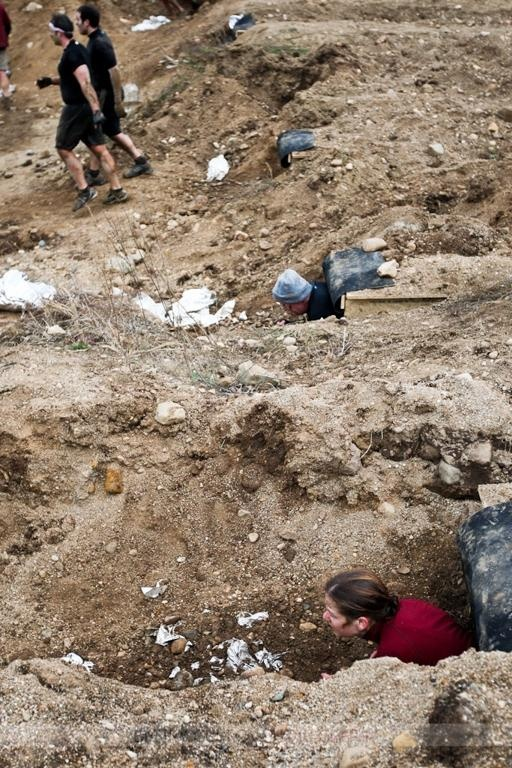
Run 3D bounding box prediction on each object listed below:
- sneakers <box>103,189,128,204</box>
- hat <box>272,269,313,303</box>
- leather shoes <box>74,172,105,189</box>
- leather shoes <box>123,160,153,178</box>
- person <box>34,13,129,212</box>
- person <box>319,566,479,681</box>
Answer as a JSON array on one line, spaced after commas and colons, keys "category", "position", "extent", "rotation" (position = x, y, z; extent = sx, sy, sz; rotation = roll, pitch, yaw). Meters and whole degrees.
[{"category": "sneakers", "position": [-1.199, -1.598, 7.922], "extent": [0.255, 0.123, 0.086], "rotation": [-4, 72, 34]}, {"category": "hat", "position": [0.225, -0.600, 5.743], "extent": [0.197, 0.171, 0.228], "rotation": [-25, 31, 13]}, {"category": "leather shoes", "position": [-1.491, -1.855, 8.279], "extent": [0.240, 0.106, 0.082], "rotation": [29, 72, 18]}, {"category": "leather shoes", "position": [-1.039, -1.927, 8.199], "extent": [0.312, 0.195, 0.101], "rotation": [-2, 54, 2]}, {"category": "person", "position": [-1.433, -2.149, 7.426], "extent": [0.473, 1.536, 0.870], "rotation": [-16, 23, -8]}, {"category": "person", "position": [0.592, 1.004, 3.737], "extent": [0.484, 0.750, 0.309], "rotation": [-17, 39, 16]}]
